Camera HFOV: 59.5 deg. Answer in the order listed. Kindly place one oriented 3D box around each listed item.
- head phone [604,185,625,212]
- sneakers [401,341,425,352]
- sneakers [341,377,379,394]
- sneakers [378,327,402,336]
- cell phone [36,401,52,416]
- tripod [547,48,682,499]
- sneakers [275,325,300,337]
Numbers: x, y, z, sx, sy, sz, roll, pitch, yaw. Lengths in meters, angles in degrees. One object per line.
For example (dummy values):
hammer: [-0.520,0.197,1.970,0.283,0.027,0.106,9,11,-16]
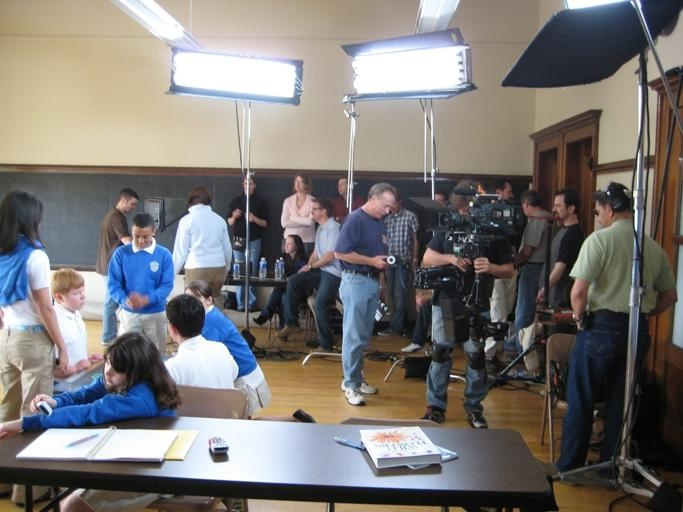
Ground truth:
head phone: [1.882,-0.400,4.105,0.126,0.165,0.167,14,4,2]
sneakers: [0.819,1.054,6.900,0.282,0.202,0.101,2,2,1]
sneakers: [0.173,1.211,5.645,0.134,0.174,0.397,4,-8,-30]
sneakers: [0.628,0.954,7.642,0.275,0.115,0.113,4,-1,7]
cell phone: [-1.500,0.770,3.024,0.056,0.029,0.075,25,14,-45]
tripod: [1.818,0.171,3.930,0.652,2.792,0.841,3,5,30]
sneakers: [-0.649,0.881,7.007,0.293,0.222,0.115,-3,-6,17]
